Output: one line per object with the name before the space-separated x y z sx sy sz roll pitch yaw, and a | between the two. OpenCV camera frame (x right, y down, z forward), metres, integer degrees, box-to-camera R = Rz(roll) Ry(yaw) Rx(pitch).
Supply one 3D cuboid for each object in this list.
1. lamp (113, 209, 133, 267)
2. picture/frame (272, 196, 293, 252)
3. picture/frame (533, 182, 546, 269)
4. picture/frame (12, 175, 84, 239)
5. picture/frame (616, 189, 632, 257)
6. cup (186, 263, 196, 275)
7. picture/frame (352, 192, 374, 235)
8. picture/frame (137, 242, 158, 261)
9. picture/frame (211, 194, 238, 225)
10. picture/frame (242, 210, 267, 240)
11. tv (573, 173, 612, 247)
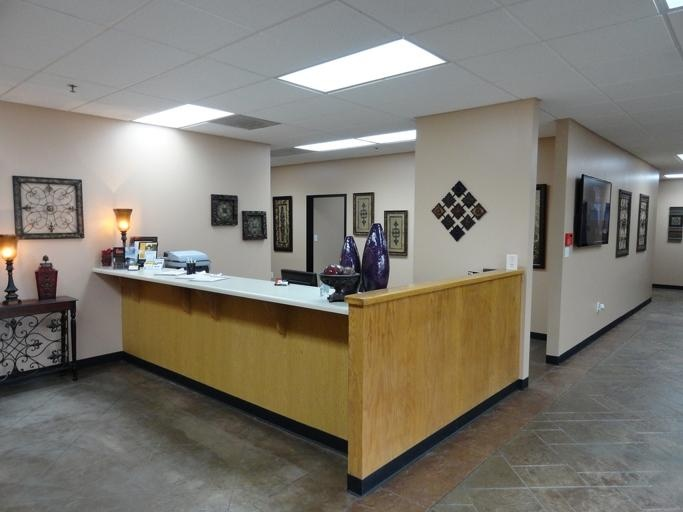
lamp | -2.661 -0.247 5.559 0.217 0.669 0.394 -4 10 -25
picture/frame | -1.293 -0.698 9.879 0.659 1.214 0.101 8 11 38
picture/frame | 2.875 -0.425 6.557 0.194 1.210 0.118 6 10 32
picture/frame | -3.354 -0.563 5.124 0.050 0.733 0.626 8 11 41
picture/frame | 4.622 -0.578 7.474 0.083 1.300 1.024 1 2 35
cup | -1.628 0.131 4.950 0.105 0.138 0.113 2 10 0
picture/frame | 0.401 -0.786 8.637 0.520 0.858 0.100 7 11 37
picture/frame | -2.368 -0.064 5.508 0.213 0.199 0.179 -2 9 -15
picture/frame | -1.731 -0.682 6.612 0.032 0.482 0.413 3 4 36
picture/frame | -1.368 -0.480 7.003 0.045 0.464 0.415 1 1 37
tv | 3.443 -0.602 6.229 0.122 0.986 1.349 9 12 42
